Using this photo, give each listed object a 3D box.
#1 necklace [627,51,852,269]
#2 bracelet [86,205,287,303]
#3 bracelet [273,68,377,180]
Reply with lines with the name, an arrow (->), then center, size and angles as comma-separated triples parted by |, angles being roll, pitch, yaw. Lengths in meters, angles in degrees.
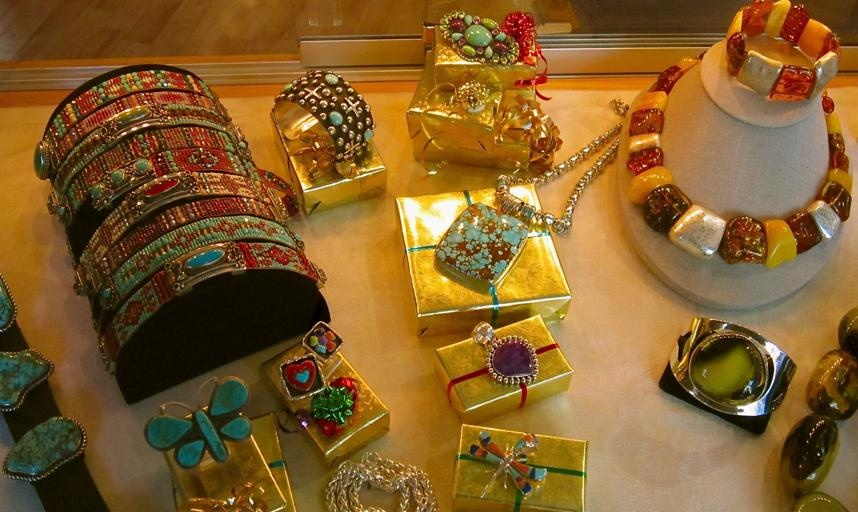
necklace -> 1.171, -0.311, 2.529 | 0.846, 0.377, 0.664 | 12, 52, 13
bracelet -> -0.818, -0.038, 2.243 | 0.440, 0.131, 0.414 | -25, 43, -2
bracelet -> -0.427, -0.513, 2.652 | 0.379, 0.337, 0.208 | 38, 63, 17
